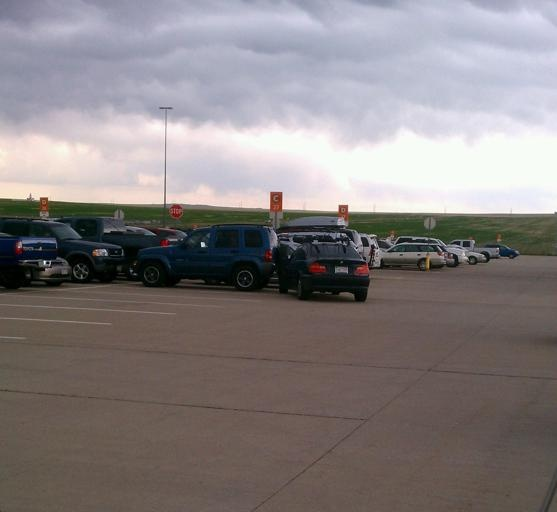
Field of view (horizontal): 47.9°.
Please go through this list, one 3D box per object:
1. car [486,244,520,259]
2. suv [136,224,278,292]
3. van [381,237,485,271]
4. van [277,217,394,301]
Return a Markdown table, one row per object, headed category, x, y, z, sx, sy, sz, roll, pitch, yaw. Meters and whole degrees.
| category | x | y | z | sx | sy | sz | roll | pitch | yaw |
| --- | --- | --- | --- | --- | --- | --- | --- | --- | --- |
| car | 26.329 | -0.384 | 72.971 | 4.343 | 1.848 | 2.128 | 0 | 7 | 9 |
| suv | -2.114 | -0.086 | 21.477 | 3.779 | 1.860 | 2.203 | 3 | 3 | 11 |
| van | 9.155 | -0.083 | 40.670 | 4.516 | 1.475 | 2.992 | 3 | 4 | 22 |
| van | 1.256 | 0.042 | 20.266 | 1.950 | 2.257 | 4.866 | -1 | 6 | -1 |
